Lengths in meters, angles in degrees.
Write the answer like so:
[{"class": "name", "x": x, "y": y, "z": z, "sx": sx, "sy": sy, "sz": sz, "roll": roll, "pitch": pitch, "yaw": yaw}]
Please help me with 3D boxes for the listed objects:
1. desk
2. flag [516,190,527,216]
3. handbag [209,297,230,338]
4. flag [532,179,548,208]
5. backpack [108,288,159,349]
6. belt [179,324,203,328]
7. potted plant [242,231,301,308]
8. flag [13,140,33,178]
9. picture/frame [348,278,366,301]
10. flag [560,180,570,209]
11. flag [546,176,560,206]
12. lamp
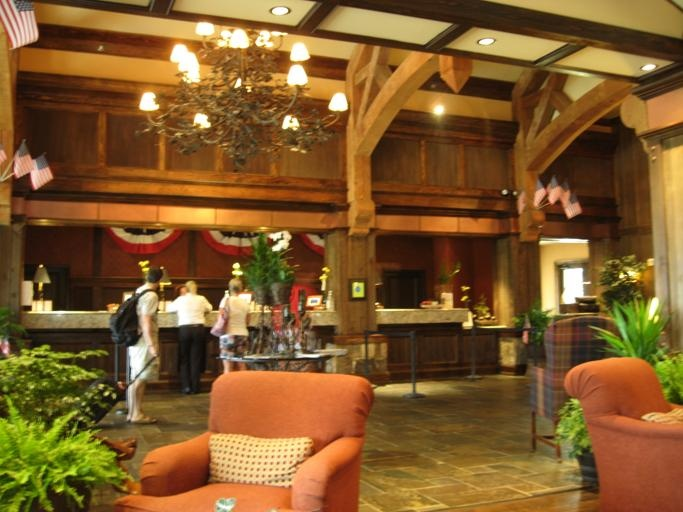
[{"class": "desk", "x": -0.513, "y": 1.055, "z": 5.569, "sx": 1.086, "sy": 0.288, "sz": 0.847, "roll": 3, "pitch": -5, "yaw": -33}, {"class": "flag", "x": 3.538, "y": -1.054, "z": 11.192, "sx": 0.110, "sy": 0.346, "sz": 0.403, "roll": 6, "pitch": 17, "yaw": -11}, {"class": "handbag", "x": -1.625, "y": 0.812, "z": 7.625, "sx": 0.217, "sy": 0.535, "sz": 0.245, "roll": 3, "pitch": -6, "yaw": -29}, {"class": "flag", "x": 3.692, "y": -1.188, "z": 10.710, "sx": 0.255, "sy": 0.512, "sz": 0.324, "roll": 4, "pitch": -1, "yaw": 23}, {"class": "backpack", "x": -2.333, "y": 0.679, "z": 6.320, "sx": 0.461, "sy": 0.635, "sz": 0.213, "roll": 2, "pitch": -6, "yaw": -20}, {"class": "belt", "x": -2.238, "y": 1.020, "z": 8.451, "sx": 0.326, "sy": 0.082, "sz": 0.113, "roll": 2, "pitch": -5, "yaw": -18}, {"class": "potted plant", "x": -0.713, "y": 0.128, "z": 5.564, "sx": 0.458, "sy": 0.705, "sz": 0.231, "roll": 1, "pitch": -5, "yaw": -10}, {"class": "flag", "x": -4.373, "y": -1.322, "z": 7.800, "sx": 0.218, "sy": 0.535, "sz": 0.314, "roll": 3, "pitch": -6, "yaw": -28}, {"class": "picture/frame", "x": 0.248, "y": 0.583, "z": 9.920, "sx": 0.512, "sy": 0.457, "sz": 0.051, "roll": 1, "pitch": -4, "yaw": -23}, {"class": "flag", "x": 4.073, "y": -1.129, "z": 10.448, "sx": 0.195, "sy": 0.469, "sz": 0.212, "roll": 1, "pitch": -7, "yaw": 15}, {"class": "flag", "x": 3.910, "y": -1.204, "z": 10.456, "sx": 0.228, "sy": 0.601, "sz": 0.268, "roll": 12, "pitch": 11, "yaw": 20}, {"class": "lamp", "x": -1.199, "y": -1.860, "z": 6.977, "sx": 2.286, "sy": 1.295, "sz": 2.053, "roll": -12, "pitch": 30, "yaw": -21}]
